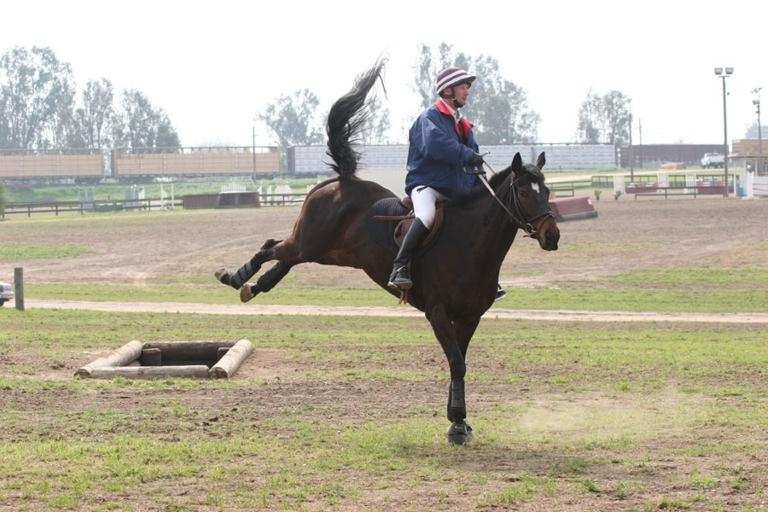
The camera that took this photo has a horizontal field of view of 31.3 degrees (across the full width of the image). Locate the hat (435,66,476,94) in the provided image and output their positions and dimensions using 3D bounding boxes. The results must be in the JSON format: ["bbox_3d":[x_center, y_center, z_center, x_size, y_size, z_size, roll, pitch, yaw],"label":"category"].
[{"bbox_3d":[2.033,-5.014,39.198,1.021,0.767,1.005,-2,4,-1],"label":"hat"}]

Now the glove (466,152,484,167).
[{"bbox_3d":[2.612,-2.708,38.713,0.547,0.387,0.350,-3,4,-12],"label":"glove"}]
